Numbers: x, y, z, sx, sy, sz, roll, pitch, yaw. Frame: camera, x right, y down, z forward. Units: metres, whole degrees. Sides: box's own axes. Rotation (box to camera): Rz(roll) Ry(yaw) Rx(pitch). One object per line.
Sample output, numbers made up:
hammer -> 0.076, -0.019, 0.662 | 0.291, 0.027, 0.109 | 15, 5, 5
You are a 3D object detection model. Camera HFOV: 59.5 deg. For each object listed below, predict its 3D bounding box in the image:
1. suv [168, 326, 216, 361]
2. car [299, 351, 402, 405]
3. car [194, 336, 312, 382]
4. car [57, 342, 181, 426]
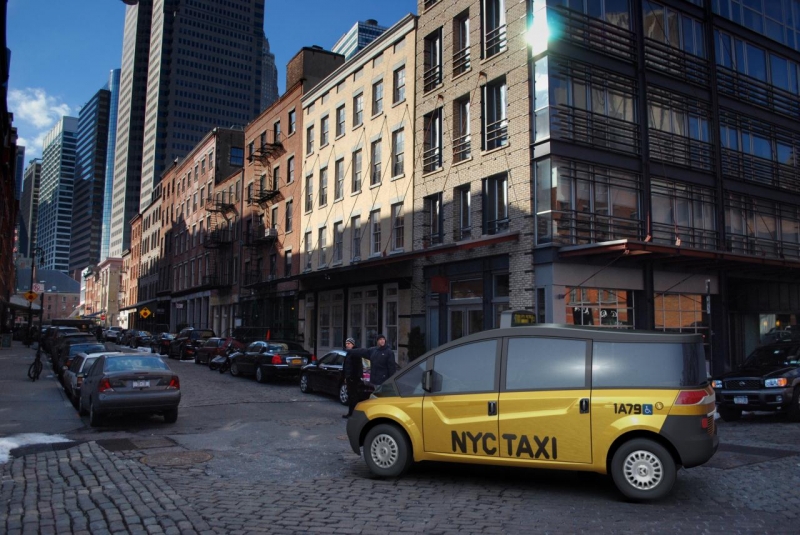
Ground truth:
suv -> -12.270, 4.394, 40.774 | 1.569, 1.323, 3.444 | 3, -2, -27
car -> -2.125, 3.619, 23.442 | 1.524, 1.315, 3.114 | 4, -2, -32
car -> -5.553, 3.913, 28.338 | 4.662, 1.983, 1.480 | 5, 16, 43
car -> -7.522, 3.367, 18.827 | 3.058, 2.107, 1.938 | 2, 14, 36
